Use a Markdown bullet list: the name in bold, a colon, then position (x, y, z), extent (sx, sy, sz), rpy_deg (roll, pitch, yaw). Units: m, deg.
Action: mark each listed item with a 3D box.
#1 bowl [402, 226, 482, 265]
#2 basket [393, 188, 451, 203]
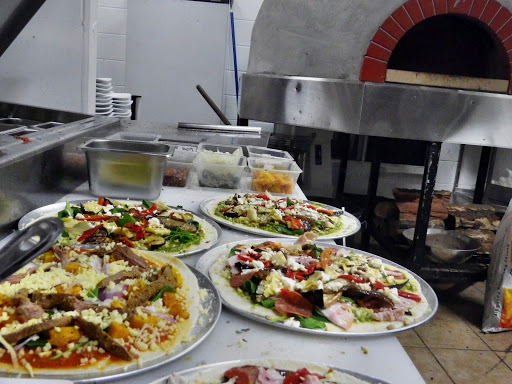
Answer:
- **bowl**: position (1.270, 0.352, 2.506), extent (0.341, 0.104, 0.336), rpy_deg (2, 5, 0)
- **basket**: position (1.187, 0.020, 2.621), extent (0.482, 0.112, 0.167), rpy_deg (-2, 17, -28)
